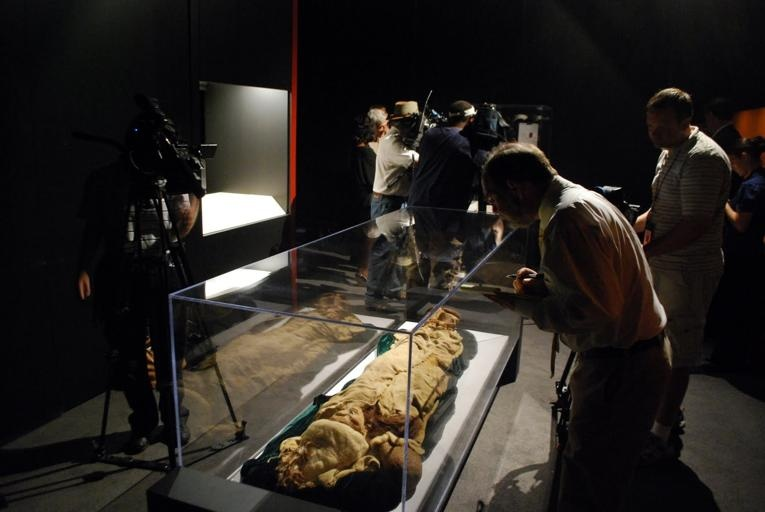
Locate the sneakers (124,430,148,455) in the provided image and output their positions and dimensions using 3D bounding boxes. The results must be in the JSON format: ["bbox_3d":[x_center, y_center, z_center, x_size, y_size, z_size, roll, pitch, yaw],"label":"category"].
[{"bbox_3d":[-1.668,1.264,3.772,0.088,0.118,0.172,5,4,5],"label":"sneakers"}]

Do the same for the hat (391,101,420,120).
[{"bbox_3d":[0.235,-1.582,6.009,0.320,0.148,0.387,5,21,25],"label":"hat"}]
